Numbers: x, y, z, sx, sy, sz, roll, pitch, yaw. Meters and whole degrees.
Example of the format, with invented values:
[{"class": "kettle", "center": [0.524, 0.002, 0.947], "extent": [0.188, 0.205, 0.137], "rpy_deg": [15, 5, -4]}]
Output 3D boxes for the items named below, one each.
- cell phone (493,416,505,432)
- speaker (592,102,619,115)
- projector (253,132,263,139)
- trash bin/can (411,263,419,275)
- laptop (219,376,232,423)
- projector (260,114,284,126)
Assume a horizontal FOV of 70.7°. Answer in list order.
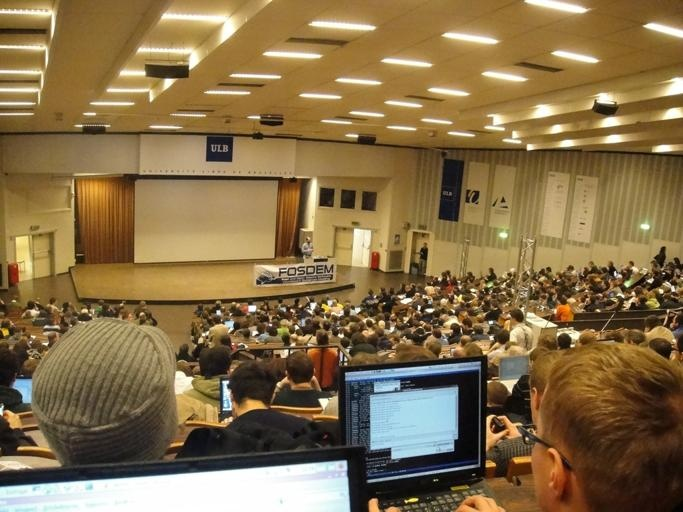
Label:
[{"class": "cell phone", "center": [0.784, 0.842, 2.409], "extent": [0.019, 0.065, 0.066], "rpy_deg": [-31, -20, -21]}, {"class": "speaker", "center": [4.328, -2.478, 7.915], "extent": [0.345, 0.212, 0.230], "rpy_deg": [7, 35, -14]}, {"class": "projector", "center": [-2.726, -3.883, 15.718], "extent": [0.297, 0.150, 0.407], "rpy_deg": [0, 10, -5]}, {"class": "trash bin/can", "center": [3.655, 0.686, 23.938], "extent": [0.484, 0.612, 0.490], "rpy_deg": [2, 4, 22]}, {"class": "laptop", "center": [-1.064, 1.320, 4.401], "extent": [0.100, 0.361, 0.340], "rpy_deg": [1, 0, -16]}, {"class": "projector", "center": [-1.890, -3.709, 13.058], "extent": [0.560, 0.315, 0.379], "rpy_deg": [1, 0, 0]}]
